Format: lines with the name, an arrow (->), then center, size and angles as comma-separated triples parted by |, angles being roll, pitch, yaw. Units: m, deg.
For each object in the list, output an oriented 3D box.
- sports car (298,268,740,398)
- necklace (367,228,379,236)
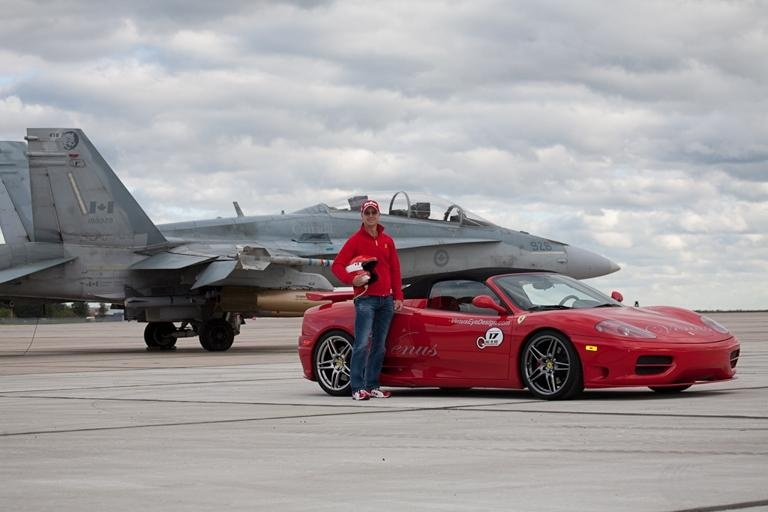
sports car -> 1.634, 1.117, 9.978 | 4.628, 0.720, 2.347 | -6, -5, 34
necklace -> -0.146, -0.319, 9.670 | 0.180, 0.089, 0.115 | -2, 4, -3
